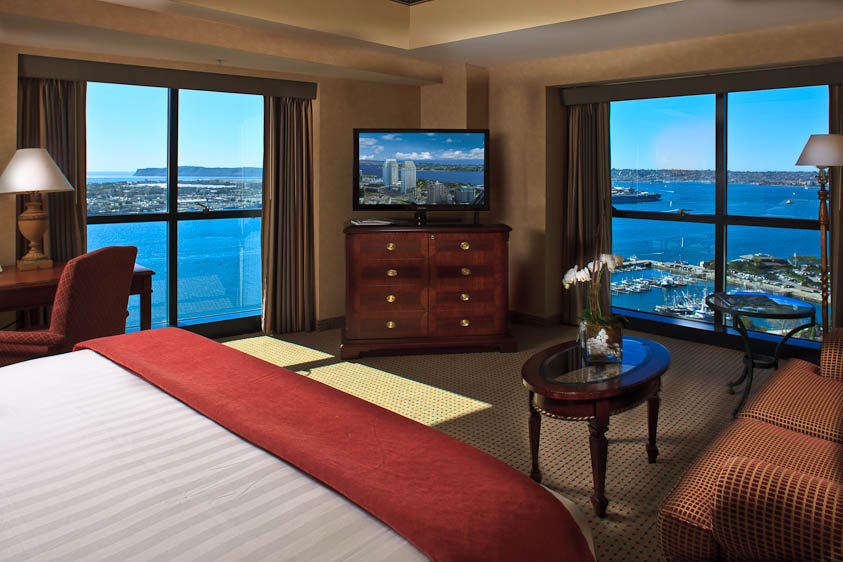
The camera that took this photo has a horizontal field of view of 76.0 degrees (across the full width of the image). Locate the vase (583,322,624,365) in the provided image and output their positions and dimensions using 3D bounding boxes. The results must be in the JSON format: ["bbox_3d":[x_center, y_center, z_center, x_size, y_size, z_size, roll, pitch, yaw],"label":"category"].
[{"bbox_3d":[1.161,0.391,3.453,0.297,0.213,0.265,1,5,24],"label":"vase"}]
